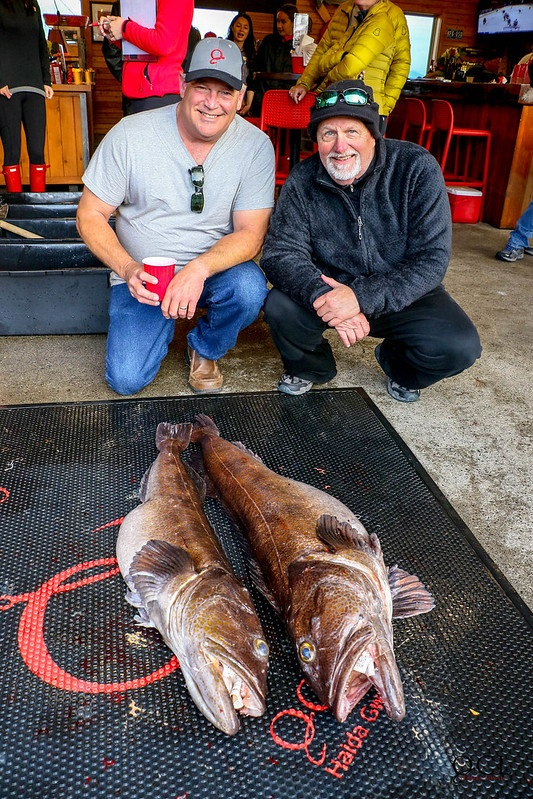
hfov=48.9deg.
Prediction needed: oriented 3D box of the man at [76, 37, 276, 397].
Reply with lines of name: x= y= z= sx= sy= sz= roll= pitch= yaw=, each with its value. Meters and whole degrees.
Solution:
man: x=-0.371 y=-0.729 z=2.429 sx=0.835 sy=1.381 sz=0.770 roll=0 pitch=31 yaw=-12

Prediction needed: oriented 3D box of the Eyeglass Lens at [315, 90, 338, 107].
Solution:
Eyeglass Lens: x=0.214 y=-1.073 z=2.115 sx=0.034 sy=0.062 sz=0.135 roll=-11 pitch=34 yaw=-27

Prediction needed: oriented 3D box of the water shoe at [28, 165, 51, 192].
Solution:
water shoe: x=-1.836 y=-1.753 z=4.676 sx=0.117 sy=0.191 sz=0.186 roll=-3 pitch=32 yaw=-16

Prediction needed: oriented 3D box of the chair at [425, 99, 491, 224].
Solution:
chair: x=2.018 y=-2.510 z=6.313 sx=0.688 sy=1.211 sz=0.667 roll=-13 pitch=28 yaw=-26

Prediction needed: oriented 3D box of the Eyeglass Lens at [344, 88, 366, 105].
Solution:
Eyeglass Lens: x=0.319 y=-1.065 z=2.081 sx=0.095 sy=0.051 sz=0.038 roll=-13 pitch=36 yaw=-30

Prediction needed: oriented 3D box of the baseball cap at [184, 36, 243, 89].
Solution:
baseball cap: x=-0.177 y=-1.222 z=2.136 sx=0.165 sy=0.123 sz=0.226 roll=6 pitch=50 yaw=-11

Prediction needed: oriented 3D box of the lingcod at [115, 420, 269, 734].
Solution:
lingcod: x=-0.184 y=0.353 z=1.305 sx=0.208 sy=0.199 sz=0.661 roll=9 pitch=29 yaw=-27

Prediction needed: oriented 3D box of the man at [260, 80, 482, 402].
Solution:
man: x=0.434 y=-0.601 z=2.418 sx=0.928 sy=1.206 sz=0.639 roll=9 pitch=30 yaw=21
